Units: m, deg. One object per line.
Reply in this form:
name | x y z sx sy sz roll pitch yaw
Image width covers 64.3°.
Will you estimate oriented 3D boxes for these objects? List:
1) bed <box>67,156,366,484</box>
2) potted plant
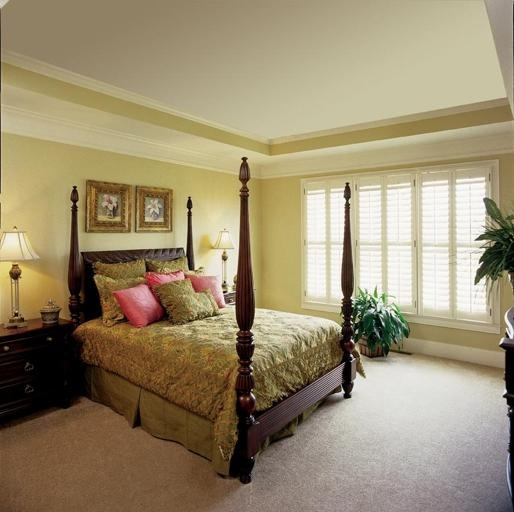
bed | -0.388 0.718 4.084 2.226 2.483 2.287 0 1 39
potted plant | 1.461 0.813 5.328 0.657 1.067 0.931 1 -2 -24
